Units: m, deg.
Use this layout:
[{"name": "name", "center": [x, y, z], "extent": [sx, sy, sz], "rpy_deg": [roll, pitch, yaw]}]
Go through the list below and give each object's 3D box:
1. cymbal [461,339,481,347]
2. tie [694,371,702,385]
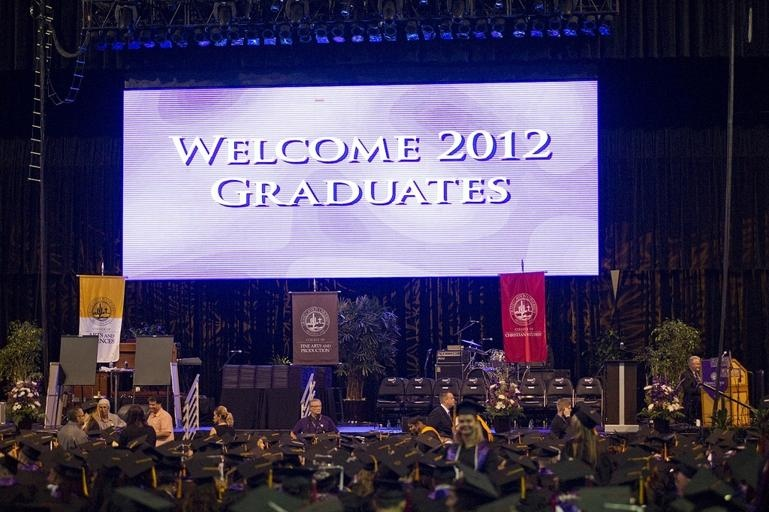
[{"name": "cymbal", "center": [2.359, 2.325, 29.727], "extent": [0.410, 0.187, 0.696], "rpy_deg": [3, -9, -19]}, {"name": "tie", "center": [7.554, 2.914, 26.625], "extent": [0.154, 0.282, 0.071], "rpy_deg": [8, -19, -8]}]
